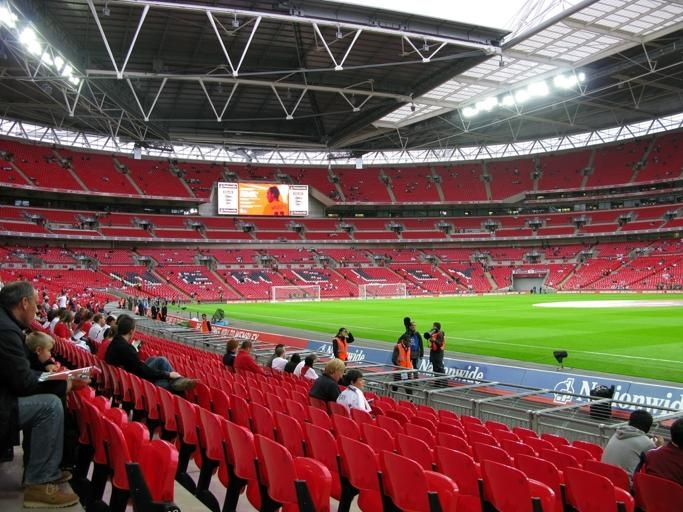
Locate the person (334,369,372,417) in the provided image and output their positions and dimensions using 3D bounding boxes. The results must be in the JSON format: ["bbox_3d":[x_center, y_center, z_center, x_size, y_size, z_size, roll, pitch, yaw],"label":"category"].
[{"bbox_3d":[0.173,1.863,6.818,0.479,0.567,0.674,5,-6,3],"label":"person"}]
